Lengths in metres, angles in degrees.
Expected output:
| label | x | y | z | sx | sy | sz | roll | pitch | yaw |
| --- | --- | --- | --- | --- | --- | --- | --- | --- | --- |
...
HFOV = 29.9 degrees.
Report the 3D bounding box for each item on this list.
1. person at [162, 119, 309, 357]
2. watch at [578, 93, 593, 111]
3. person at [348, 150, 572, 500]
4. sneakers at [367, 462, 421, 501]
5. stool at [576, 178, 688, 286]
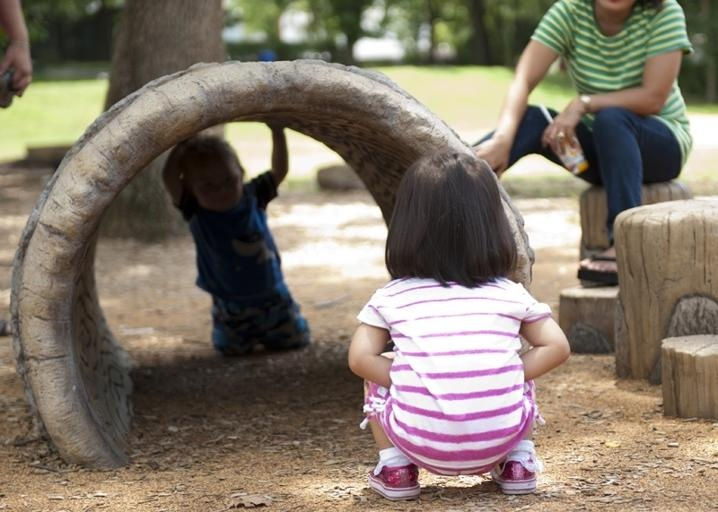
| label | x | y | z | sx | sy | sz | roll | pitch | yaw |
| --- | --- | --- | --- | --- | --- | --- | --- | --- | --- |
| person | -0.755 | -0.041 | 8.136 | 0.706 | 1.369 | 0.279 | -8 | 11 | -7 |
| watch | 1.305 | -0.903 | 7.934 | 0.067 | 0.093 | 0.094 | -5 | 52 | -8 |
| person | 0.418 | 0.300 | 6.659 | 0.970 | 1.555 | 0.457 | -7 | 11 | -1 |
| sneakers | 0.174 | 1.133 | 6.696 | 0.146 | 0.133 | 0.244 | -3 | 8 | -24 |
| stool | 1.718 | -0.117 | 8.332 | 0.673 | 0.511 | 0.651 | -5 | -5 | 30 |
